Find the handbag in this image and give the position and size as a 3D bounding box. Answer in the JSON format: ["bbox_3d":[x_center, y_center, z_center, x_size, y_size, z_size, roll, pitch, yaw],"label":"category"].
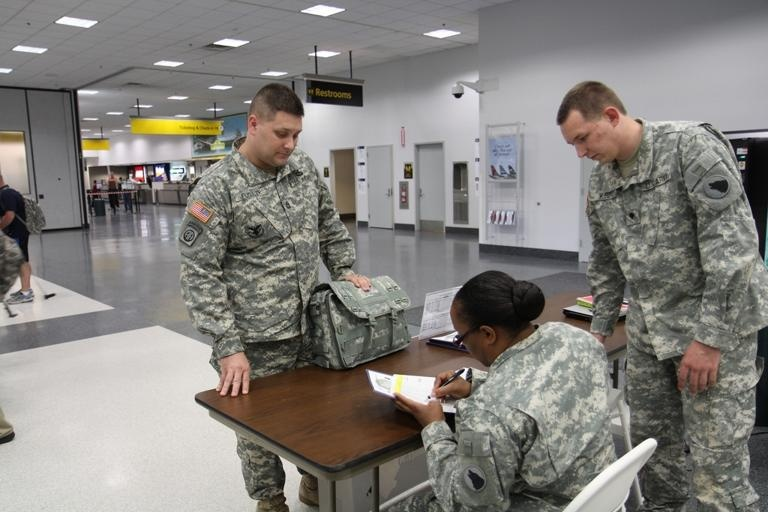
[{"bbox_3d":[-0.135,0.330,2.709,0.409,0.463,0.665,0,4,43],"label":"handbag"}]

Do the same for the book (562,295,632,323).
[{"bbox_3d":[1.275,0.333,3.122,0.241,0.055,0.248,-9,14,-30],"label":"book"}]

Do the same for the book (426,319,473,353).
[{"bbox_3d":[0.333,0.408,2.744,0.241,0.054,0.223,-11,24,-35],"label":"book"}]

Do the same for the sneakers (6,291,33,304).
[{"bbox_3d":[-5.490,0.628,7.370,0.438,0.197,0.159,0,6,-12],"label":"sneakers"}]
